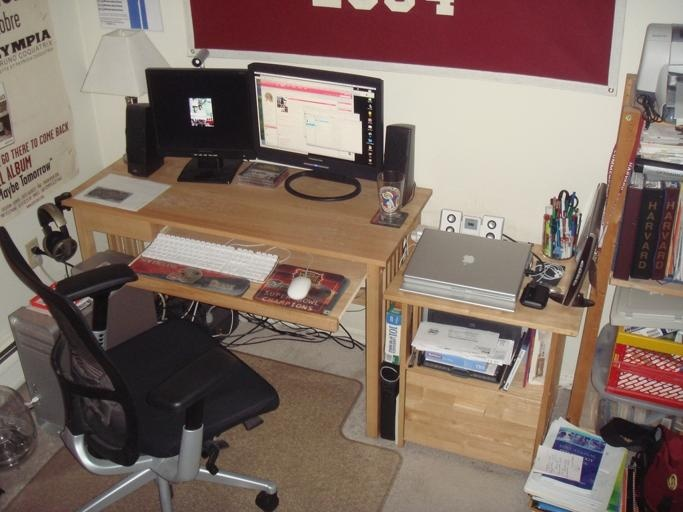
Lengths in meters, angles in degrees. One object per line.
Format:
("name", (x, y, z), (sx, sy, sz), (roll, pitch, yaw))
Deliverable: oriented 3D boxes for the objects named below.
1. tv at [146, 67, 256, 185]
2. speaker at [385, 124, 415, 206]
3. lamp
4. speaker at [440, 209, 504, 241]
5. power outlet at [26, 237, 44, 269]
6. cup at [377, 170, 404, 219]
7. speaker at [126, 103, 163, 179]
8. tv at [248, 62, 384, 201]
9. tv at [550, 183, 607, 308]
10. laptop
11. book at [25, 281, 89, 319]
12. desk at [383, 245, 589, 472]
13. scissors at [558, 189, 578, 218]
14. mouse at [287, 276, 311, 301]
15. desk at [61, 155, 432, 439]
("tv", (-0.638, -0.616, 2.657), (0.442, 0.463, 0.268), (3, 38, 4))
("speaker", (0.268, -0.429, 2.546), (0.081, 0.261, 0.090), (-1, 14, 17))
("lamp", (-0.920, -0.757, 2.603), (0.336, 0.511, 0.336), (12, 33, 8))
("speaker", (0.573, -0.136, 2.505), (0.219, 0.149, 0.053), (12, 12, 14))
("power outlet", (-1.512, -0.009, 2.857), (0.040, 0.137, 0.075), (29, 32, 31))
("cup", (0.216, -0.279, 2.501), (0.116, 0.170, 0.190), (6, 26, 5))
("speaker", (-0.917, -0.549, 2.693), (0.096, 0.295, 0.225), (6, 33, 7))
("tv", (-0.088, -0.560, 2.585), (0.594, 0.549, 0.300), (10, 38, 14))
("tv", (0.941, -0.047, 2.233), (0.141, 0.407, 0.392), (15, 28, 23))
("laptop", (0.508, 0.030, 2.321), (0.448, 0.120, 0.310), (12, 28, 16))
("book", (-0.969, 0.155, 1.986), (0.137, 0.033, 0.134), (7, 36, -2))
("desk", (0.607, 0.469, 2.555), (0.717, 0.837, 0.545), (11, 31, 23))
("scissors", (0.920, -0.210, 2.370), (0.096, 0.138, 0.033), (7, -11, -36))
("mouse", (-0.157, 0.119, 2.290), (0.083, 0.064, 0.129), (17, 30, 25))
("desk", (-0.480, 0.165, 2.923), (1.537, 1.039, 0.815), (9, 27, 13))
